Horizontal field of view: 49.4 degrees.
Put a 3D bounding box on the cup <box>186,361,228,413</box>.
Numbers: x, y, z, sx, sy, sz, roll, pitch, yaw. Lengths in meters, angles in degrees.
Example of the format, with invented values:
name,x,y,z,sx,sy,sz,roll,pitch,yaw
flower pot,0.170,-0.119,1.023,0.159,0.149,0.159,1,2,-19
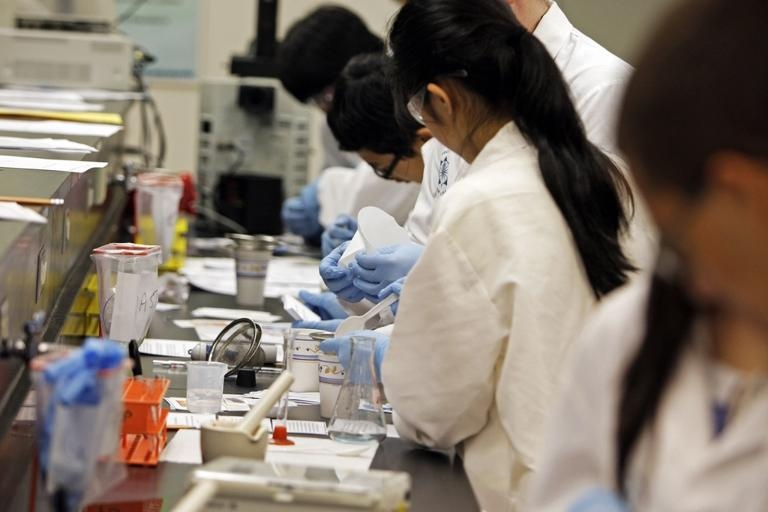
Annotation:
name,x,y,z,sx,sy,sz,roll,pitch,yaw
cup,-0.387,0.288,1.806,0.096,0.106,0.082,6,-13,-16

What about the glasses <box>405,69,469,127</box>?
name,x,y,z,sx,sy,sz,roll,pitch,yaw
glasses,0.112,-0.330,1.774,0.039,0.080,0.105,42,-5,-26

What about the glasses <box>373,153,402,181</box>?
name,x,y,z,sx,sy,sz,roll,pitch,yaw
glasses,0.016,-0.289,2.698,0.017,0.065,0.064,34,-4,-24

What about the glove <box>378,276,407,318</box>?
name,x,y,z,sx,sy,sz,roll,pitch,yaw
glove,0.013,0.099,2.075,0.032,0.094,0.067,-2,44,-36

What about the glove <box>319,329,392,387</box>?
name,x,y,z,sx,sy,sz,roll,pitch,yaw
glove,-0.065,0.234,1.892,0.133,0.113,0.103,-2,-4,45

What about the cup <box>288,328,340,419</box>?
name,x,y,z,sx,sy,sz,roll,pitch,yaw
cup,-0.159,0.274,1.953,0.117,0.192,0.187,3,7,1
